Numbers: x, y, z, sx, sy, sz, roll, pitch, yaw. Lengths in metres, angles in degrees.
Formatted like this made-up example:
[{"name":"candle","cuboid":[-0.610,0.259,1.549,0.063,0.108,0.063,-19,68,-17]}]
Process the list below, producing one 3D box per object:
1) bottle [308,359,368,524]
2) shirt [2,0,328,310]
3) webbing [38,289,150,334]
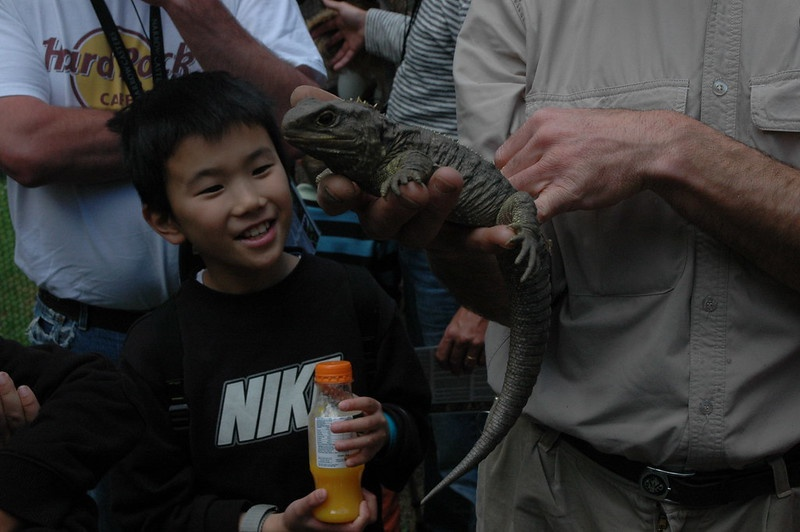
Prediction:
[{"name":"bottle","cuboid":[-0.255,0.707,3.012,0.214,0.654,0.322,-2,30,-4]},{"name":"shirt","cuboid":[-1.115,-0.495,3.500,1.130,1.299,0.786,-22,2,-15]},{"name":"webbing","cuboid":[-1.509,0.238,3.778,0.287,0.090,0.288,11,16,-15]}]
